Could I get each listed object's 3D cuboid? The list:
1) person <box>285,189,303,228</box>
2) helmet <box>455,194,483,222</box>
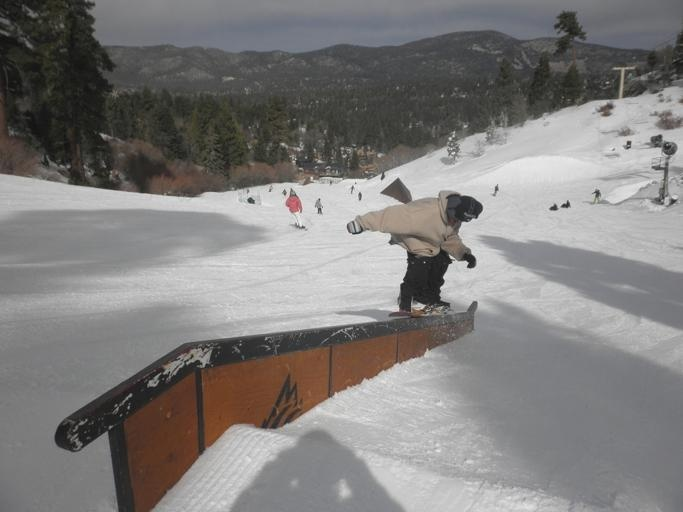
[{"bbox_3d":[-1.759,-1.858,20.370,0.539,1.644,0.468,-2,38,8],"label":"person"},{"bbox_3d":[1.545,-0.573,6.385,0.273,0.336,0.314,5,18,26],"label":"helmet"}]
